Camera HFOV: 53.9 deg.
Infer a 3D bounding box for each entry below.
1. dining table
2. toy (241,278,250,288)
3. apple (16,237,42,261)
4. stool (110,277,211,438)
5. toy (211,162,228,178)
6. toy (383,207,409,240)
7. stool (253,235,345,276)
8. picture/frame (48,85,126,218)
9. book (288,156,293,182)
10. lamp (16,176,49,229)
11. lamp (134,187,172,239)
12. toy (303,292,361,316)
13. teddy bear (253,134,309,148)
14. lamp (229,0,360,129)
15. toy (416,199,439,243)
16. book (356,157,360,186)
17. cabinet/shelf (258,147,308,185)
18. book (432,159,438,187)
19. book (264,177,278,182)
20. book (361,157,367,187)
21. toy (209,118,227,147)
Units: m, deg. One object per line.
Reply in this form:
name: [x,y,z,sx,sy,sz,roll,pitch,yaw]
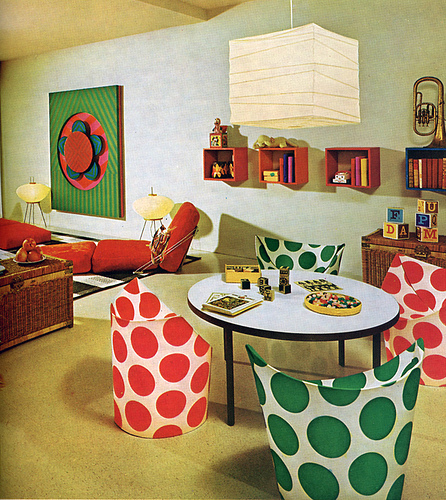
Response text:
dining table: [0.459,0.289,2.103,0.827,0.359,0.776,6,11,38]
toy: [0.122,0.187,2.432,0.042,0.046,0.071,1,6,4]
apple: [-1.590,-0.004,3.559,0.217,0.198,0.125,-5,15,-33]
stool: [-0.299,0.485,1.948,0.484,0.678,0.333,1,10,7]
toy: [-0.020,-0.951,5.241,0.215,0.201,0.149,0,10,10]
toy: [1.429,-0.213,3.618,0.202,0.250,0.271,3,9,22]
stool: [0.544,0.045,3.186,0.411,0.405,0.376,3,-4,11]
picture/frame: [-1.980,-1.521,6.526,1.963,2.122,0.224,6,9,38]
book: [0.710,-0.839,4.589,0.049,0.278,0.058,-4,11,-17]
lamp: [-3.022,-0.723,6.940,0.456,0.670,0.405,3,11,-15]
lamp: [-0.885,-0.394,5.553,0.499,0.614,0.456,-3,7,-7]
toy: [0.521,0.252,2.085,0.232,0.069,0.247,-3,10,-13]
teddy bear: [0.596,-1.160,4.738,0.346,0.110,0.262,3,8,18]
lamp: [0.354,-0.722,1.966,0.501,0.390,0.504,5,9,41]
toy: [1.637,-0.236,3.517,0.170,0.326,0.294,4,11,23]
book: [1.263,-0.733,4.087,0.042,0.303,0.241,0,6,17]
cabinet/shelf: [0.662,-0.903,4.708,0.234,0.338,0.443,-7,7,-37]
book: [1.728,-0.627,3.565,0.041,0.166,0.171,1,8,16]
book: [0.534,-0.778,4.814,0.134,0.063,0.073,11,19,40]
book: [1.306,-0.715,4.048,0.071,0.259,0.044,3,11,20]
toy: [-0.051,-1.366,5.153,0.200,0.334,0.135,-1,10,-1]
